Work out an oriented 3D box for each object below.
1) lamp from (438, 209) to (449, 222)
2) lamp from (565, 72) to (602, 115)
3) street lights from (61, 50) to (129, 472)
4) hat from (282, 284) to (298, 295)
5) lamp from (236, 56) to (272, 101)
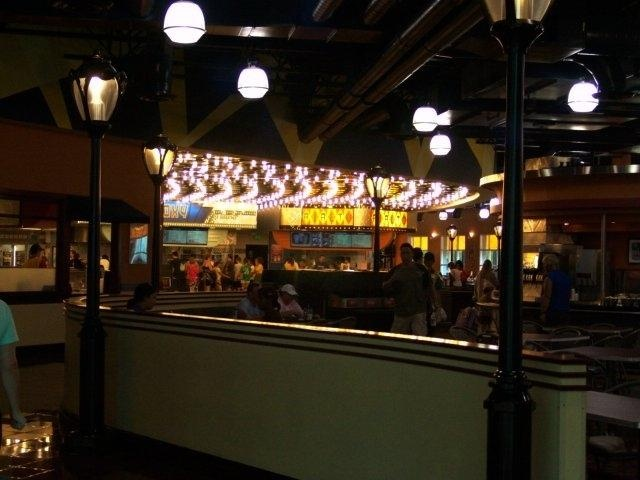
[{"bbox_3d":[6.048,-1.217,30.951,0.488,0.476,0.504,1,3,10],"label":"lamp"},{"bbox_3d":[4.163,-2.339,10.256,0.624,0.711,0.610,-5,7,-40],"label":"lamp"},{"bbox_3d":[-2.545,0.176,6.866,0.546,4.384,0.597,3,-4,-22],"label":"street lights"},{"bbox_3d":[-0.500,0.778,9.948,0.235,0.133,0.170,-2,-5,41],"label":"hat"},{"bbox_3d":[-0.972,-2.419,9.444,0.523,0.600,0.526,0,-3,-5],"label":"lamp"}]
